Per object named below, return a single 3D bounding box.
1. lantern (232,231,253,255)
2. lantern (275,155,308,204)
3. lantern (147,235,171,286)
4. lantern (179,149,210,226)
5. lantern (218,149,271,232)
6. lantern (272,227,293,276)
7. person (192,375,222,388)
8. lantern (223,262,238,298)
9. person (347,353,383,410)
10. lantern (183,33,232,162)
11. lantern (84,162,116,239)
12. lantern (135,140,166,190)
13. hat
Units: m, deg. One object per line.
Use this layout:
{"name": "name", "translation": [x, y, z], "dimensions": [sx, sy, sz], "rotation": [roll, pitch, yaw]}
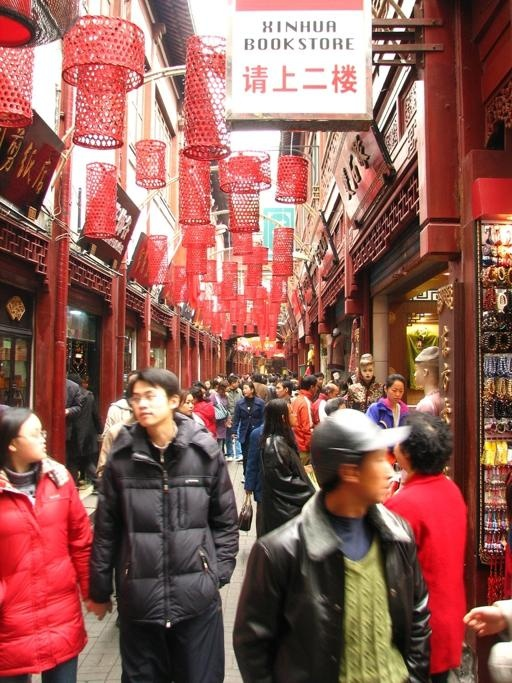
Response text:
{"name": "lantern", "translation": [-0.286, -1.979, 10.661], "dimensions": [0.403, 0.507, 0.434], "rotation": [0, -3, -8]}
{"name": "lantern", "translation": [0.524, -2.275, 7.624], "dimensions": [0.565, 0.709, 0.600], "rotation": [1, -3, 5]}
{"name": "lantern", "translation": [-2.189, -1.861, 11.785], "dimensions": [0.371, 1.070, 0.679], "rotation": [1, -10, -7]}
{"name": "lantern", "translation": [-0.826, -2.012, 7.087], "dimensions": [0.398, 0.958, 0.353], "rotation": [1, -9, -10]}
{"name": "lantern", "translation": [-0.147, -2.020, 7.048], "dimensions": [0.661, 0.723, 1.235], "rotation": [-1, -10, -1]}
{"name": "lantern", "translation": [0.575, -2.019, 11.591], "dimensions": [0.414, 1.180, 0.371], "rotation": [-1, -9, 2]}
{"name": "person", "translation": [-1.927, 1.448, 19.840], "dimensions": [1.555, 0.343, 0.213], "rotation": [7, -21, -45]}
{"name": "lantern", "translation": [-0.779, -1.863, 15.496], "dimensions": [0.415, 1.091, 0.712], "rotation": [1, -10, -8]}
{"name": "person", "translation": [1.490, 0.712, 7.226], "dimensions": [0.481, 1.014, 0.313], "rotation": [3, -6, 9]}
{"name": "lantern", "translation": [-0.410, -2.007, 4.460], "dimensions": [0.388, 0.881, 0.582], "rotation": [1, -10, -9]}
{"name": "lantern", "translation": [-2.048, -1.884, 7.009], "dimensions": [0.387, 1.021, 0.313], "rotation": [3, -10, -23]}
{"name": "lantern", "translation": [-1.517, -2.604, 7.676], "dimensions": [0.414, 0.954, 0.551], "rotation": [1, -10, -12]}
{"name": "hat", "translation": [0.250, 0.235, 1.356], "dimensions": [0.230, 0.146, 0.162], "rotation": [-28, 7, 7]}
